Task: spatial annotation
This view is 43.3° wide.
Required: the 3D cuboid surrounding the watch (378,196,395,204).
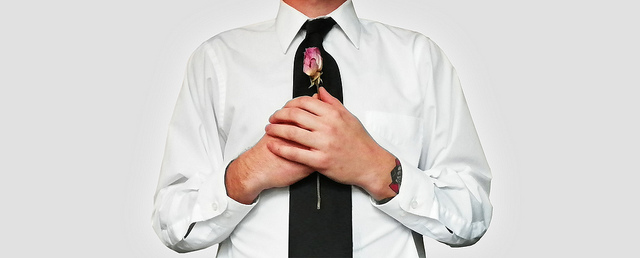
[{"bbox_3d":[0.463,0.520,5.817,0.083,0.057,0.060,-4,-35,6],"label":"watch"}]
